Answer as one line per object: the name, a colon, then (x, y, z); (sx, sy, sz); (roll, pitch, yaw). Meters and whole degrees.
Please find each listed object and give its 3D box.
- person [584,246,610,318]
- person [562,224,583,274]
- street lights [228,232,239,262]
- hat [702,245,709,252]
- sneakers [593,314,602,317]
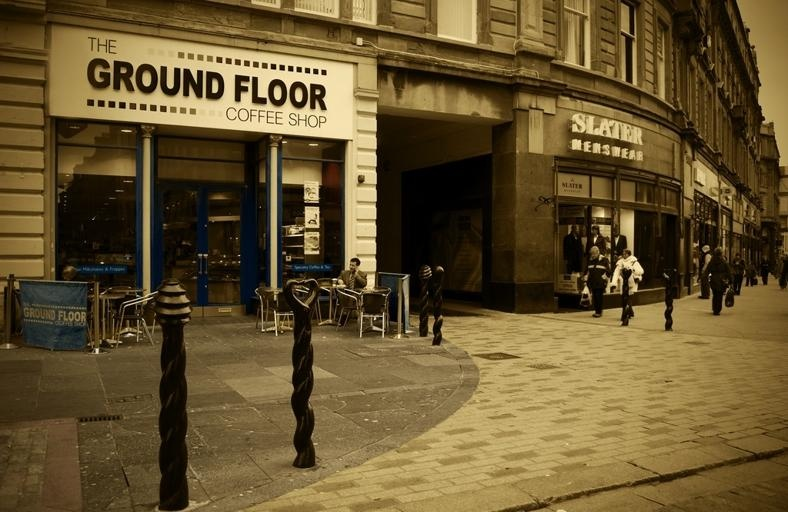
person: (6.254, 0.769, 23.265); (0.650, 2.153, 1.550); (3, 11, 15)
person: (5.854, -0.213, 24.625); (0.804, 1.516, 0.396); (-8, 14, -38)
street lights: (-4.510, -0.237, 21.233); (0.275, 0.733, 0.232); (-2, 11, -10)
hat: (12.325, -0.292, 29.779); (0.280, 0.326, 0.404); (1, 5, 20)
sneakers: (6.190, 1.819, 22.977); (0.239, 0.107, 0.097); (7, -11, -39)
